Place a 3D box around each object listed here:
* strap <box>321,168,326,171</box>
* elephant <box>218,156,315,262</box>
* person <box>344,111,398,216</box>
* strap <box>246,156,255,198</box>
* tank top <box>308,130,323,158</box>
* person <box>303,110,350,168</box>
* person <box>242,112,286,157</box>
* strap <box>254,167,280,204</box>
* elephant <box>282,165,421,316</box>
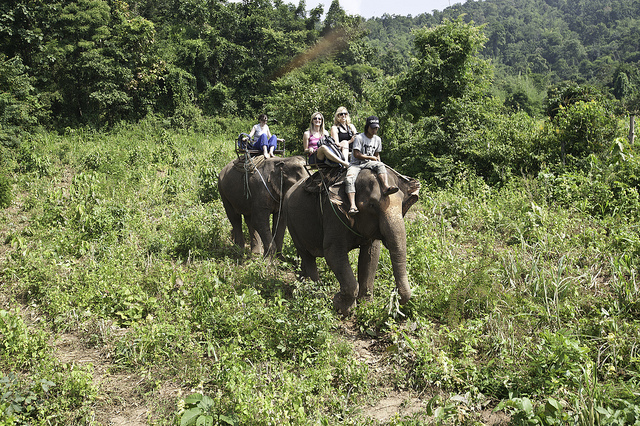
[{"bbox_3d":[0.083,-0.949,13.558,0.120,0.035,0.024,-25,-11,26],"label":"strap"},{"bbox_3d":[-1.356,-0.421,16.628,1.316,2.567,3.952,-3,5,-42],"label":"elephant"},{"bbox_3d":[1.041,-0.999,12.997,1.014,2.121,0.921,2,6,7],"label":"person"},{"bbox_3d":[-1.743,-0.855,15.432,0.097,0.998,0.121,-6,-8,18],"label":"strap"},{"bbox_3d":[-0.140,-1.729,14.399,0.256,0.412,0.340,2,6,6],"label":"tank top"},{"bbox_3d":[0.224,-1.669,13.954,0.829,1.252,1.627,-10,14,-32],"label":"person"},{"bbox_3d":[-1.426,-2.007,15.988,0.674,1.130,1.097,-4,-4,31],"label":"person"},{"bbox_3d":[-1.262,-0.652,15.143,0.077,1.001,0.124,-33,1,1],"label":"strap"},{"bbox_3d":[0.462,0.470,13.885,2.203,3.362,4.070,-12,19,-39],"label":"elephant"}]
